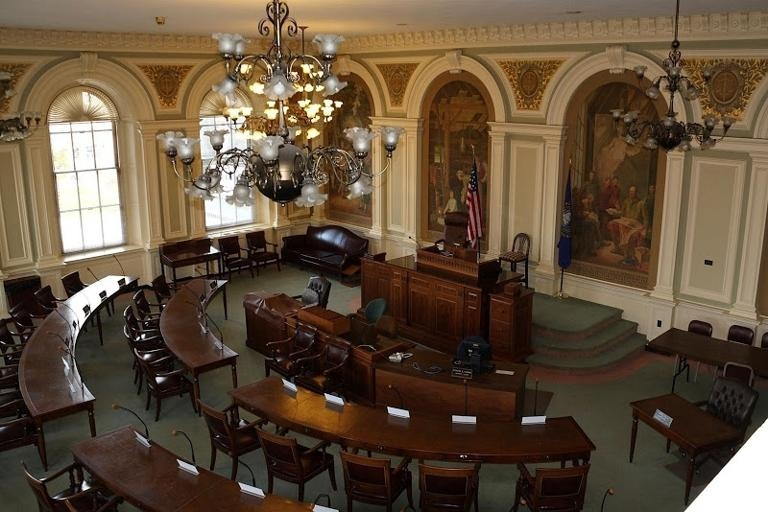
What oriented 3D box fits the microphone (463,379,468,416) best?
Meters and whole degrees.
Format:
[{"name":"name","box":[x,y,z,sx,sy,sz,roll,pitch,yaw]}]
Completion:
[{"name":"microphone","box":[1.238,2.131,8.070,0.079,0.552,0.100,0,10,8]}]
